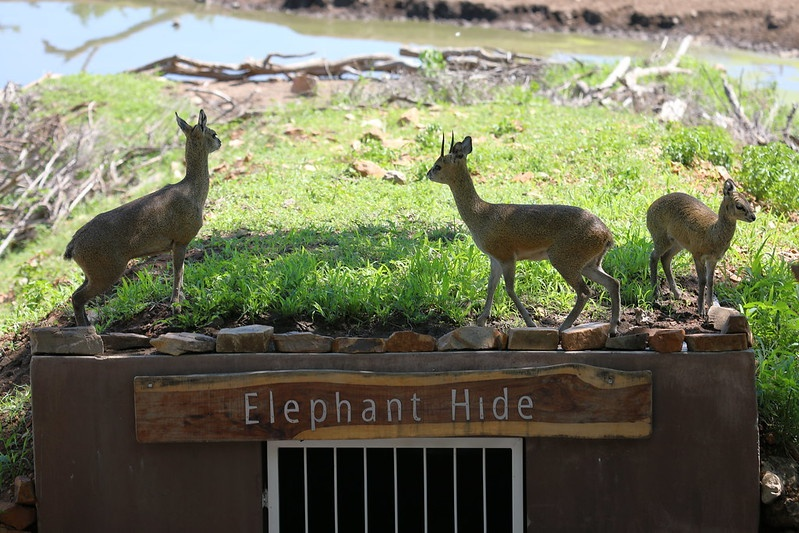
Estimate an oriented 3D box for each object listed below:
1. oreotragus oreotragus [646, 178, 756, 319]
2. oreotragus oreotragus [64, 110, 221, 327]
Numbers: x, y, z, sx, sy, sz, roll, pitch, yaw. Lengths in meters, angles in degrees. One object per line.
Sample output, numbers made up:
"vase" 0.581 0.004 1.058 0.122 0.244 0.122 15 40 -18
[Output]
"oreotragus oreotragus" 3.603 -0.341 11.837 1.220 1.604 0.657 24 35 30
"oreotragus oreotragus" -3.062 -0.628 11.903 2.359 2.601 0.696 -18 29 -37
